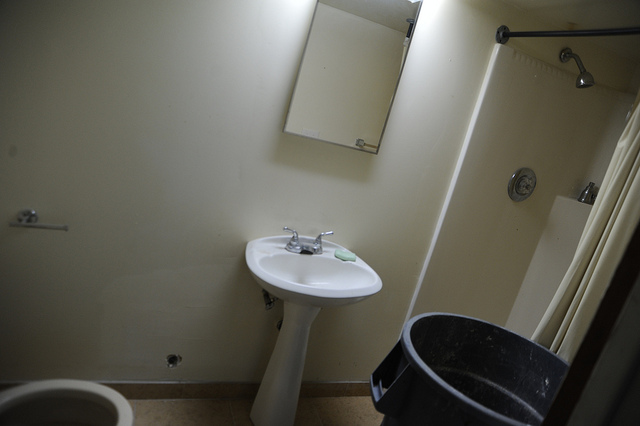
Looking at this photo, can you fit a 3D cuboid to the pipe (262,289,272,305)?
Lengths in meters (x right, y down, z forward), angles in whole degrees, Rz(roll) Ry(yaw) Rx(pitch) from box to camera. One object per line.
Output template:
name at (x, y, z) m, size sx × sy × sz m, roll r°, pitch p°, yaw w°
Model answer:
pipe at (-0.297, 0.461, 2.788) m, size 0.061 × 0.100 × 0.068 m, roll -4°, pitch -9°, yaw -8°

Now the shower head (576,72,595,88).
shower head at (1.427, -0.711, 2.664) m, size 0.067 × 0.075 × 0.066 m, roll -3°, pitch 13°, yaw -1°

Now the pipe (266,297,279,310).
pipe at (-0.277, 0.501, 2.808) m, size 0.056 × 0.092 × 0.019 m, roll 8°, pitch 39°, yaw -56°

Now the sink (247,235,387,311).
sink at (-0.046, 0.345, 2.709) m, size 0.734 × 0.341 × 0.535 m, roll 10°, pitch 13°, yaw -9°

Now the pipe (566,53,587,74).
pipe at (1.401, -0.823, 2.692) m, size 0.063 × 0.117 × 0.063 m, roll -19°, pitch -10°, yaw 6°

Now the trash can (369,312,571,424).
trash can at (0.650, 0.748, 2.125) m, size 0.621 × 0.470 × 0.566 m, roll 19°, pitch 15°, yaw 30°

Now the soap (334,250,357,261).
soap at (0.149, 0.242, 2.849) m, size 0.130 × 0.037 × 0.078 m, roll 12°, pitch 12°, yaw 3°
